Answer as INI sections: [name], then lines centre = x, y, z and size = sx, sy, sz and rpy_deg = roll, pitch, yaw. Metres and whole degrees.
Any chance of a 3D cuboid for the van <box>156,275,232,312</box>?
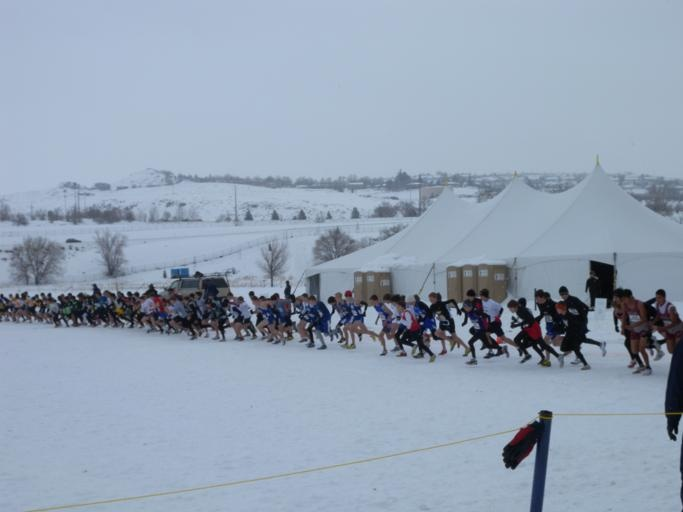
[van]
centre = -5.548, 1.553, 34.370
size = 2.386, 1.268, 1.475
rpy_deg = 2, -1, 1
